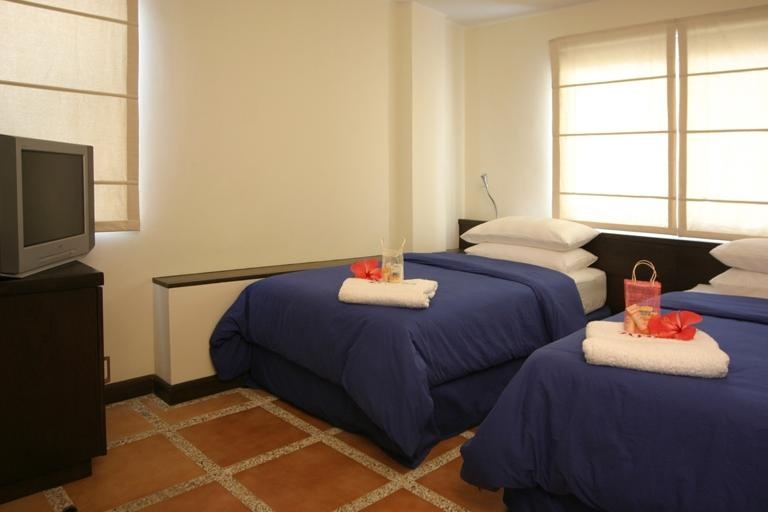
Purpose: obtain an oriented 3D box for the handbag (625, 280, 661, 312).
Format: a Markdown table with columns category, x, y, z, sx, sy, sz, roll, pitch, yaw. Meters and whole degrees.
| category | x | y | z | sx | sy | sz | roll | pitch | yaw |
| --- | --- | --- | --- | --- | --- | --- | --- | --- | --- |
| handbag | 1.333 | 0.209 | 2.702 | 0.187 | 0.247 | 0.087 | 0 | -3 | 27 |
